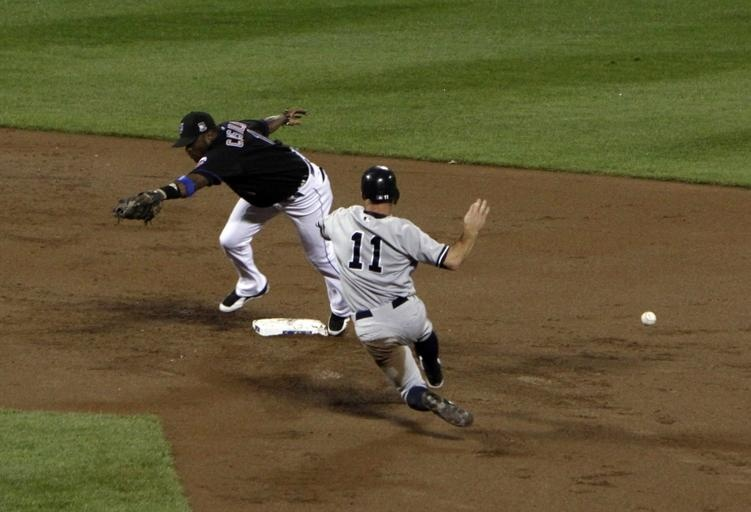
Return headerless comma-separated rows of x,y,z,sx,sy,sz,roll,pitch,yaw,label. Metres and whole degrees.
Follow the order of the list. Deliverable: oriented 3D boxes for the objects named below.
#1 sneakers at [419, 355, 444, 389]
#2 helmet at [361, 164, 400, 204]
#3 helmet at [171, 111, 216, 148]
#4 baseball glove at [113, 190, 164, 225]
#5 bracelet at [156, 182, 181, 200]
0.883,1.753,21.250,0.274,0.280,0.619,-12,59,-5,sneakers
0.091,-1.069,20.798,0.517,0.426,0.577,0,33,3,helmet
-2.786,-1.940,21.891,0.721,0.372,0.449,-28,32,-12,helmet
-3.443,-0.738,21.305,0.672,0.500,0.267,-7,47,-26,baseball glove
-3.046,-0.961,21.508,0.386,0.205,0.151,-13,-5,-23,bracelet
